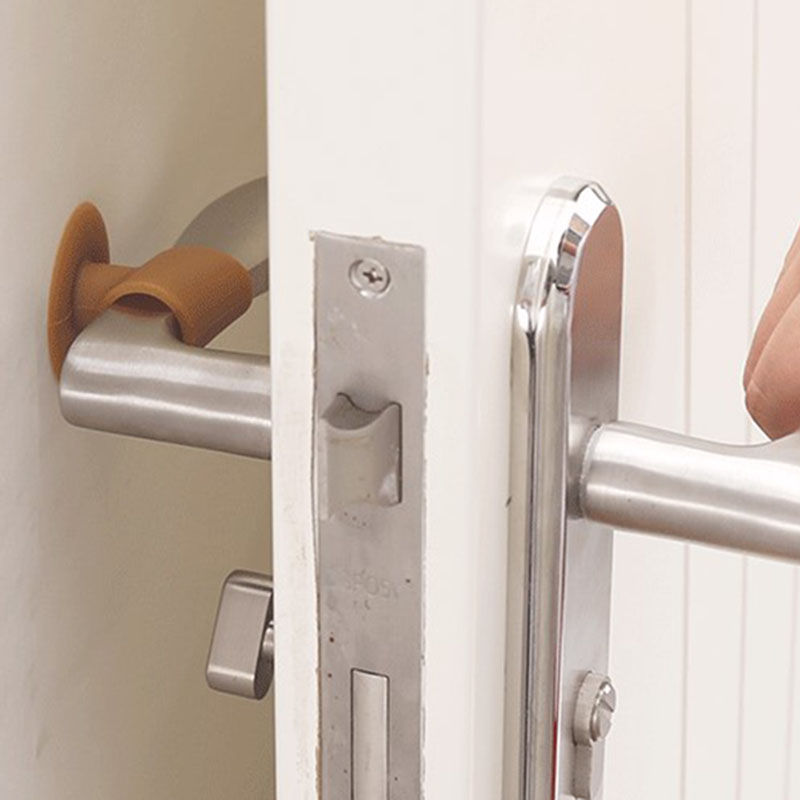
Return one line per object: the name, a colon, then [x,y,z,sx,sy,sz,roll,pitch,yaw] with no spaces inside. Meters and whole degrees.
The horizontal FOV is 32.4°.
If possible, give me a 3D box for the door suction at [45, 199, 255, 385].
door suction: [-0.099,-0.033,0.509,0.053,0.064,0.058,18,15,8]
